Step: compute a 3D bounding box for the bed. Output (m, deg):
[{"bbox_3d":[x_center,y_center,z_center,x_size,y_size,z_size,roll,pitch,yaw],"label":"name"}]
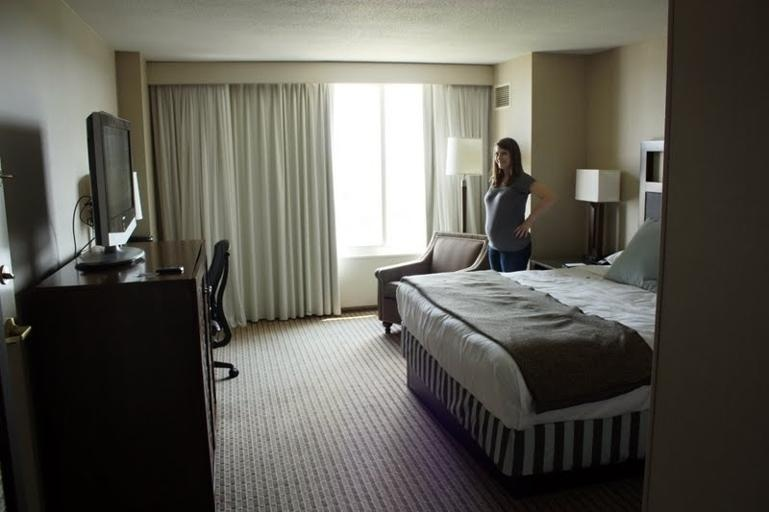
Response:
[{"bbox_3d":[0.929,0.474,4.060,1.847,1.265,2.399,5,15,26],"label":"bed"}]
